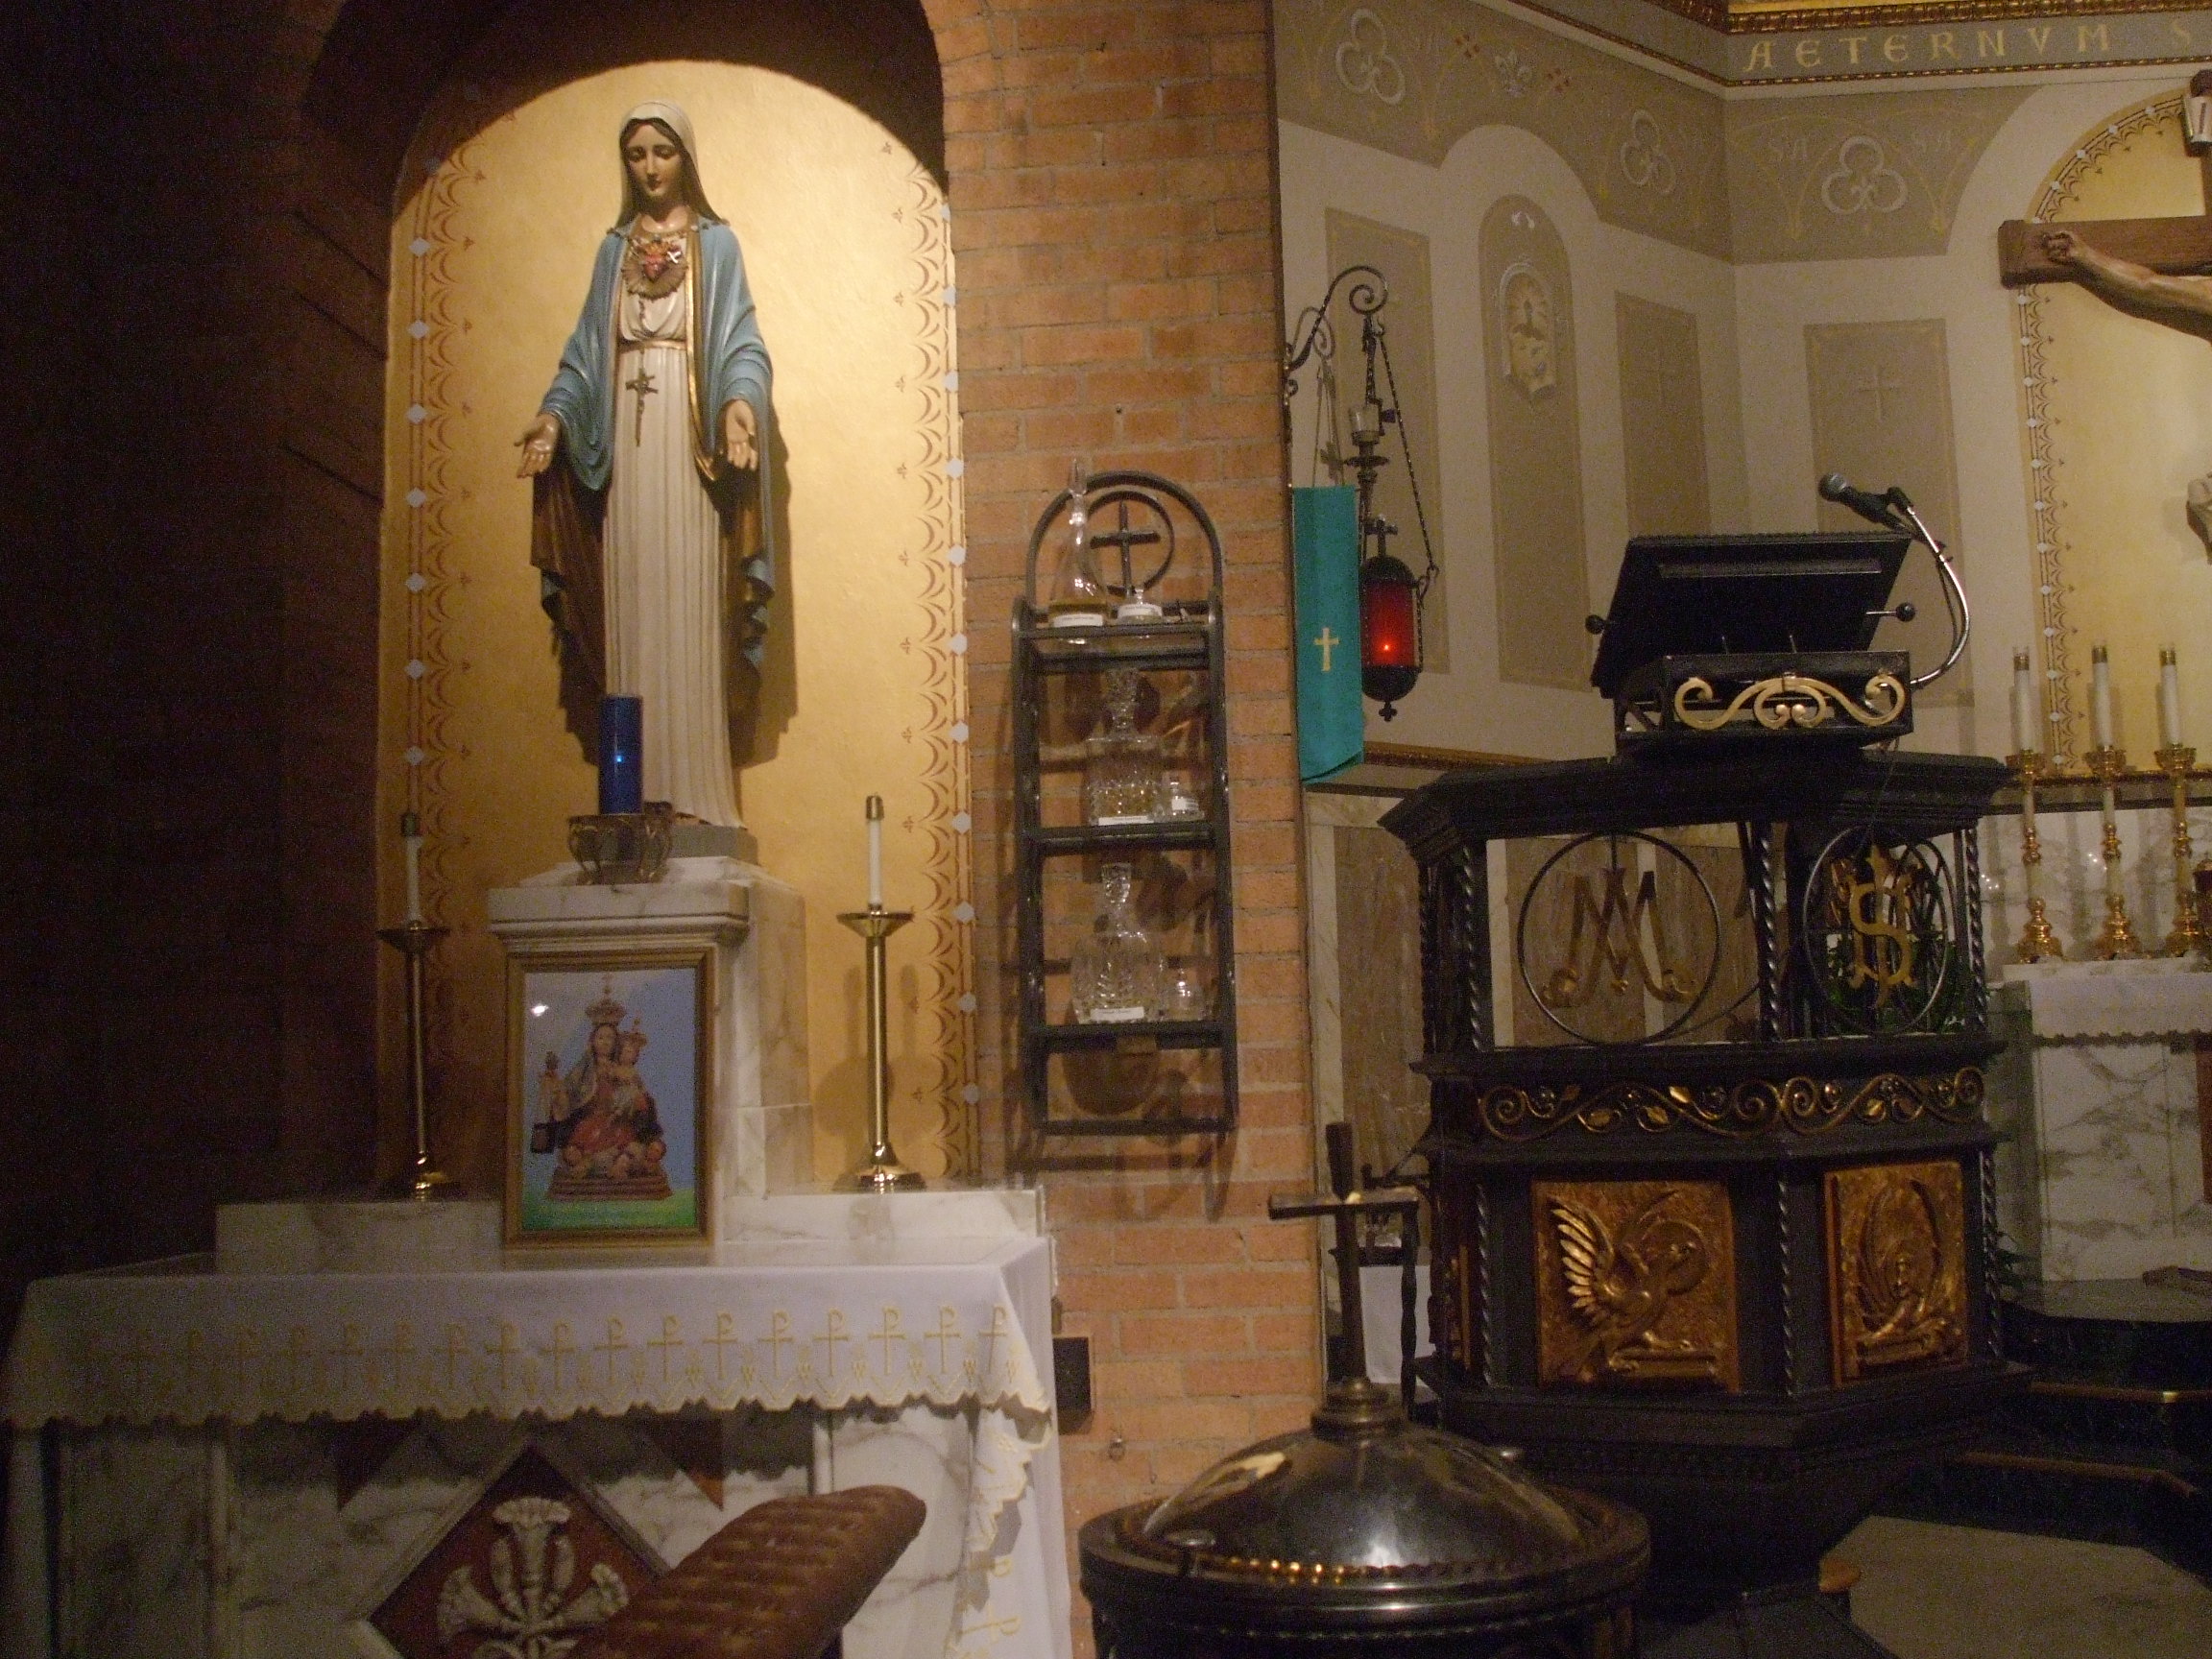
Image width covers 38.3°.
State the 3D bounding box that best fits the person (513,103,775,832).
[{"bbox_3d":[-1.229,-0.976,8.610,0.649,1.890,0.303,-1,-3,10],"label":"person"}]

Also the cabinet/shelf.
[{"bbox_3d":[0.047,-0.067,8.429,0.551,1.875,0.367,-1,-2,2],"label":"cabinet/shelf"}]

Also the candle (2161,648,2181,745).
[{"bbox_3d":[3.433,-0.441,10.283,0.059,0.328,0.244,-2,-3,19],"label":"candle"}]

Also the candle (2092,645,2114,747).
[{"bbox_3d":[3.266,-0.442,10.435,0.074,0.386,0.563,-2,-3,18],"label":"candle"}]

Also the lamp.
[{"bbox_3d":[0.799,-1.079,9.945,0.453,1.473,0.609,-1,-3,9],"label":"lamp"}]
